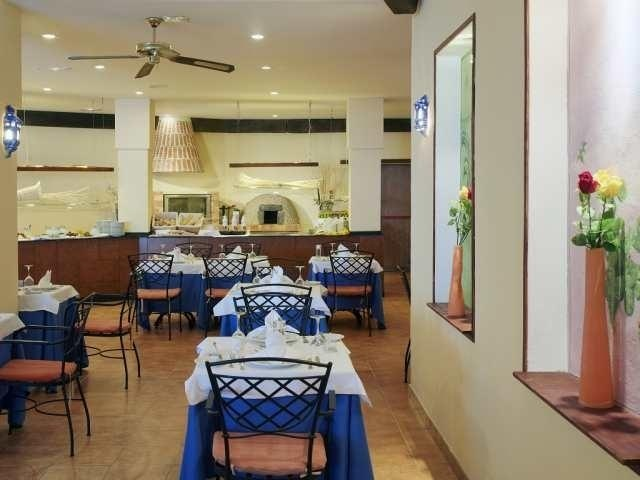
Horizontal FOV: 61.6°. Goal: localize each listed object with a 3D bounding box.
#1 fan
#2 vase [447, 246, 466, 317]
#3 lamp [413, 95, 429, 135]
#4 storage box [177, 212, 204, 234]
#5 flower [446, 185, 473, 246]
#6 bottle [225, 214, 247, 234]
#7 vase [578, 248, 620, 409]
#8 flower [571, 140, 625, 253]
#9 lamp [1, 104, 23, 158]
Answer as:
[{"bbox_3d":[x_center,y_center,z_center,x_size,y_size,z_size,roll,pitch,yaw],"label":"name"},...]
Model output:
[{"bbox_3d":[-1.714,-2.031,5.503,1.293,0.493,1.354,-7,17,-36],"label":"fan"},{"bbox_3d":[0.993,0.295,3.907,0.115,0.494,0.301,1,6,13],"label":"vase"},{"bbox_3d":[0.842,-1.009,4.461,0.110,0.324,0.109,-2,3,-9],"label":"lamp"},{"bbox_3d":[-2.526,-0.319,10.471,0.468,0.328,1.115,-1,5,-14],"label":"storage box"},{"bbox_3d":[1.045,-0.167,4.033,0.167,0.442,0.523,1,6,13],"label":"flower"},{"bbox_3d":[-1.662,-0.276,10.679,0.431,0.270,0.433,0,1,0],"label":"bottle"},{"bbox_3d":[1.175,0.371,2.257,0.132,0.675,0.074,3,7,29],"label":"vase"},{"bbox_3d":[1.228,-0.193,2.362,0.193,0.468,0.378,3,6,26],"label":"flower"},{"bbox_3d":[-3.086,-1.087,5.392,0.136,0.535,0.309,-2,6,-18],"label":"lamp"}]
